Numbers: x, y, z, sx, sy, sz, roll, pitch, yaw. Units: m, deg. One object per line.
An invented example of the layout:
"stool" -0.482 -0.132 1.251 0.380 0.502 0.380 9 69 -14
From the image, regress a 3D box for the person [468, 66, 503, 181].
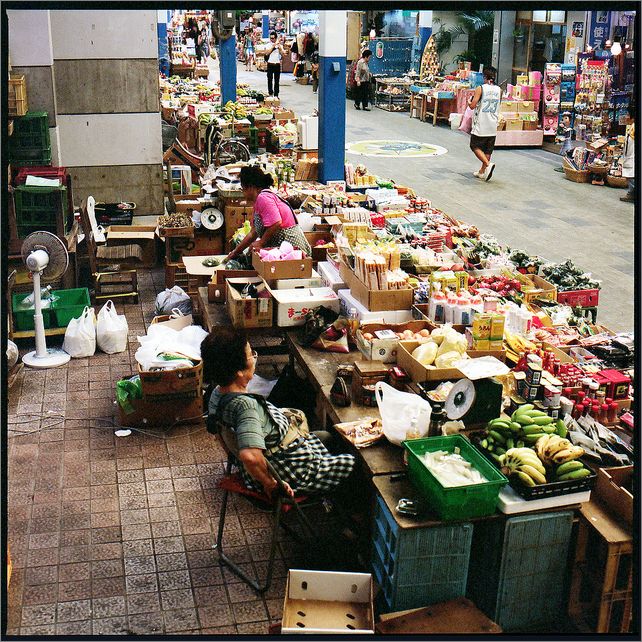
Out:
"person" 3.636 -4.389 12.043 0.641 2.403 0.882 5 20 16

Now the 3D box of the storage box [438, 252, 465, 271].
"storage box" 1.269 -0.589 5.273 0.277 0.070 0.268 1 20 0

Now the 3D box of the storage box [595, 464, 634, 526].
"storage box" 1.381 0.817 2.495 0.194 0.086 0.200 -5 21 -34

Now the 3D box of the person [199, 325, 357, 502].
"person" -0.208 0.488 2.667 0.666 0.864 0.520 -9 21 -22

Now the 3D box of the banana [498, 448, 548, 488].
"banana" 0.909 0.660 2.411 0.082 0.118 0.205 -11 -3 13

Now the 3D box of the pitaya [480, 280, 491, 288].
"pitaya" 1.496 -0.324 4.884 0.089 0.058 0.105 1 -10 4

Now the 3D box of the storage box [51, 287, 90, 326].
"storage box" -2.549 -0.170 5.514 0.369 0.260 0.409 -3 32 -12

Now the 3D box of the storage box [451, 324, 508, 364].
"storage box" 1.039 0.157 3.463 0.245 0.067 0.260 1 32 -13

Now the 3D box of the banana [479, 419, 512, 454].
"banana" 0.872 0.567 2.682 0.072 0.113 0.177 16 36 3

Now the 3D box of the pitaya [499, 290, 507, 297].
"pitaya" 1.637 -0.242 4.837 0.074 0.028 0.078 -3 28 5

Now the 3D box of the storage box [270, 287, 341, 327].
"storage box" -0.117 -0.110 4.375 0.540 0.234 0.498 -2 19 -5

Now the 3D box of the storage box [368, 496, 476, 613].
"storage box" 0.445 1.054 2.534 0.332 0.424 0.446 3 10 -14

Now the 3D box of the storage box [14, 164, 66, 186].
"storage box" -3.392 -1.744 6.505 0.603 0.198 0.650 -6 19 -14

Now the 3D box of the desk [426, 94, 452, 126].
"desk" 4.111 -7.265 18.571 0.462 0.711 1.182 -2 29 -7

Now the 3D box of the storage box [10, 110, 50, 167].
"storage box" -3.649 -2.257 6.744 0.629 0.612 0.374 -3 19 -11

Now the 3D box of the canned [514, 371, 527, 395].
"canned" 1.140 0.366 3.091 0.064 0.108 0.085 5 20 17

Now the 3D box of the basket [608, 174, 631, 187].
"basket" 6.470 -3.030 11.735 0.317 0.150 0.313 0 15 -3

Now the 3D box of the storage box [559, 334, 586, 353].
"storage box" 1.881 0.153 4.025 0.134 0.067 0.192 0 16 8

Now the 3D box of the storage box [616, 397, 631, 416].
"storage box" 1.875 0.534 3.320 0.083 0.069 0.106 -1 10 4

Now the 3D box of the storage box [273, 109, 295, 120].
"storage box" -1.000 -5.516 14.443 0.529 0.241 0.575 -2 19 -5

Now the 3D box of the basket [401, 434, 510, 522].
"basket" 0.622 0.694 2.447 0.382 0.210 0.446 -6 20 -15

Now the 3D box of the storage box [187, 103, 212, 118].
"storage box" -3.084 -5.443 13.897 0.665 0.397 0.658 -6 23 -18

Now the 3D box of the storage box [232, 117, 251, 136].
"storage box" -1.944 -4.729 13.291 0.430 0.252 0.425 0 0 -9

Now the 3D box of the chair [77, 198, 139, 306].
"chair" -2.484 -0.846 6.442 0.599 1.224 0.802 -8 20 -20

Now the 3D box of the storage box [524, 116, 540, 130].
"storage box" 5.982 -5.607 15.284 0.385 0.372 0.231 1 48 -2

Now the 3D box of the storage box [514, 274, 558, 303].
"storage box" 2.073 -0.318 5.160 0.268 0.119 0.364 -4 24 -10

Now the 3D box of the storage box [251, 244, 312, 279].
"storage box" -0.352 -0.514 4.702 0.548 0.268 0.354 1 19 4

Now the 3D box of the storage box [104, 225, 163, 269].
"storage box" -2.693 -0.925 7.301 0.934 0.471 0.936 -7 9 -21

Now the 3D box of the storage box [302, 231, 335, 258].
"storage box" -0.029 -0.871 5.935 0.337 0.206 0.329 -1 34 -3

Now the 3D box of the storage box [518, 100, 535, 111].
"storage box" 5.841 -6.057 15.242 0.502 0.317 0.106 -5 19 -12

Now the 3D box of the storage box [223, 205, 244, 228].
"storage box" -1.134 -1.330 7.061 0.364 0.350 0.263 -1 11 -12

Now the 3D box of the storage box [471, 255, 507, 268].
"storage box" 1.770 -0.597 5.560 0.338 0.117 0.296 0 19 2

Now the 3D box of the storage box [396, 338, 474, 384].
"storage box" 0.690 0.261 3.179 0.266 0.088 0.272 8 23 -18
